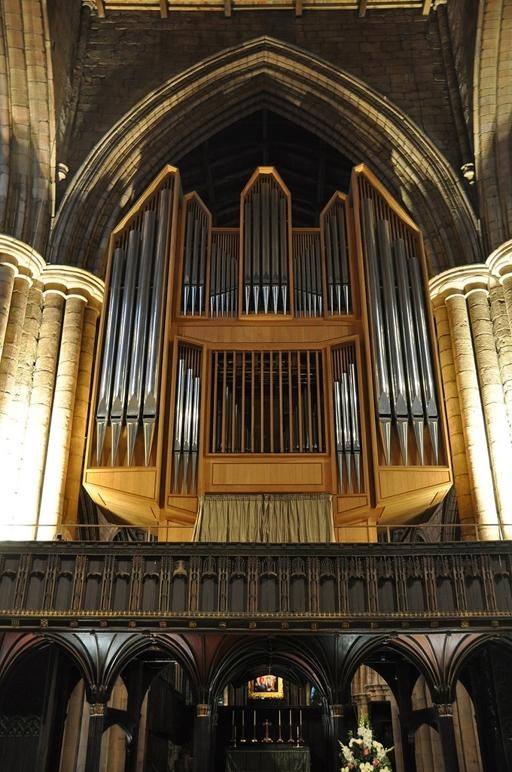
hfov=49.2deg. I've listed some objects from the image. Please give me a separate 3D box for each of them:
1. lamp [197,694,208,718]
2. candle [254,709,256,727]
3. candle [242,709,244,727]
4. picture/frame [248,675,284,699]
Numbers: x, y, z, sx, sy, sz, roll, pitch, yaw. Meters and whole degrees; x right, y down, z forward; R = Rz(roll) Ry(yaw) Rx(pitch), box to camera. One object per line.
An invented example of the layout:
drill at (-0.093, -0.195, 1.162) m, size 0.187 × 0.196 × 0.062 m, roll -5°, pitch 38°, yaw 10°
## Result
lamp at (-0.601, 3.621, 6.274) m, size 0.100 × 0.148 × 0.113 m, roll -8°, pitch -52°, yaw 6°
candle at (-0.026, 6.166, 10.333) m, size 0.056 × 0.272 × 0.123 m, roll 1°, pitch -25°, yaw -4°
candle at (-0.253, 6.211, 10.373) m, size 0.057 × 0.284 × 0.096 m, roll 0°, pitch -25°, yaw -3°
picture/frame at (0.426, 12.537, 23.156) m, size 1.629 × 0.746 × 0.953 m, roll 6°, pitch -28°, yaw -15°
